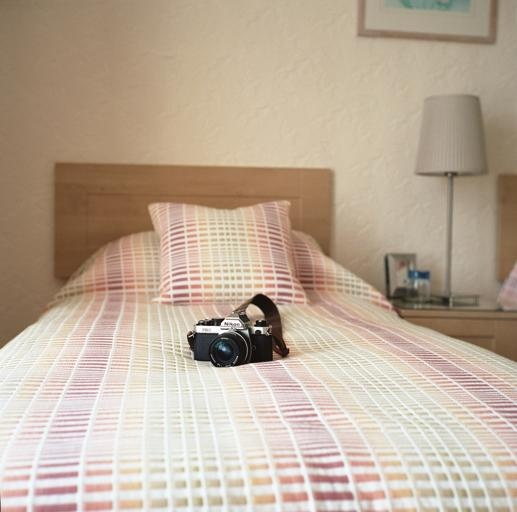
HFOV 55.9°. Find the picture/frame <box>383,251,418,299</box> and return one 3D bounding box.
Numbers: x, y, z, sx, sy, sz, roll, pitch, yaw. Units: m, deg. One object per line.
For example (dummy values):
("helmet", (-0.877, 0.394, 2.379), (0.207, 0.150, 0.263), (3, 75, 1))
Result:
("picture/frame", (0.690, 0.084, 2.315), (0.155, 0.200, 0.106), (-2, -13, 7))

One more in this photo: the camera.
("camera", (-0.058, 0.144, 0.841), (0.142, 0.080, 0.112), (-1, 1, 36))

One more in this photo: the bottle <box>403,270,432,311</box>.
("bottle", (0.723, 0.150, 2.199), (0.128, 0.175, 0.130), (2, -2, 0))
